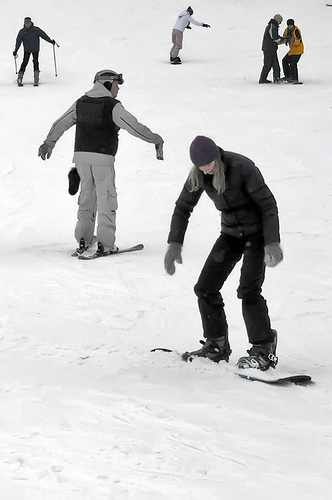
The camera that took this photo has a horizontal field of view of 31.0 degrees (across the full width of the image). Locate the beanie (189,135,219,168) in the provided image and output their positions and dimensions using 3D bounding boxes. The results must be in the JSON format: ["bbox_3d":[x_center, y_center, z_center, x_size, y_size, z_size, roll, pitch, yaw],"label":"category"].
[{"bbox_3d":[0.225,-0.572,3.506,0.169,0.187,0.159,4,8,18],"label":"beanie"}]

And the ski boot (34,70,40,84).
[{"bbox_3d":[-3.399,-4.492,15.646,0.111,0.331,0.356,0,8,-14],"label":"ski boot"}]

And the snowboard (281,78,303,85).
[{"bbox_3d":[3.072,-4.051,14.563,0.174,0.134,0.614,-15,33,-36],"label":"snowboard"}]

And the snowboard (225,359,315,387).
[{"bbox_3d":[0.602,0.743,3.558,0.499,0.069,0.366,2,7,6],"label":"snowboard"}]

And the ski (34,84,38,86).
[{"bbox_3d":[-3.424,-4.307,15.714,0.091,0.041,0.047,1,8,-4],"label":"ski"}]

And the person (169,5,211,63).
[{"bbox_3d":[0.510,-6.099,17.130,0.688,1.329,1.250,0,8,-10],"label":"person"}]

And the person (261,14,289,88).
[{"bbox_3d":[2.575,-4.736,14.076,0.540,1.268,1.086,3,8,8],"label":"person"}]

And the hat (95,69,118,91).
[{"bbox_3d":[-0.661,-1.867,6.599,0.240,0.187,0.175,-16,25,-28],"label":"hat"}]

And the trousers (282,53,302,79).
[{"bbox_3d":[3.011,-4.404,14.421,0.364,0.562,1.151,3,8,8],"label":"trousers"}]

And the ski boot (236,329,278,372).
[{"bbox_3d":[0.591,0.639,3.757,0.177,0.273,0.458,-7,-10,31],"label":"ski boot"}]

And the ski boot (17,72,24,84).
[{"bbox_3d":[-3.808,-4.474,15.571,0.148,0.238,0.088,6,-1,-3],"label":"ski boot"}]

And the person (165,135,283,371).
[{"bbox_3d":[0.358,0.044,3.758,0.746,1.462,0.521,3,8,8],"label":"person"}]

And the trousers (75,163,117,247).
[{"bbox_3d":[-0.830,-0.508,6.797,0.507,0.930,0.395,10,11,44],"label":"trousers"}]

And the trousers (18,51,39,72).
[{"bbox_3d":[-3.513,-4.825,15.369,0.473,0.508,0.718,0,8,-13],"label":"trousers"}]

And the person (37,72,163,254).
[{"bbox_3d":[-0.637,-0.940,6.599,0.879,1.989,0.445,8,10,37],"label":"person"}]

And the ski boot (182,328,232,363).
[{"bbox_3d":[0.265,0.621,3.915,0.328,0.212,0.118,5,-7,-29],"label":"ski boot"}]

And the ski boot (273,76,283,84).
[{"bbox_3d":[2.757,-4.164,14.657,0.141,0.102,0.221,-1,-14,8],"label":"ski boot"}]

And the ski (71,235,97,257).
[{"bbox_3d":[-0.941,-0.047,6.914,0.124,0.142,0.384,3,24,19],"label":"ski"}]
